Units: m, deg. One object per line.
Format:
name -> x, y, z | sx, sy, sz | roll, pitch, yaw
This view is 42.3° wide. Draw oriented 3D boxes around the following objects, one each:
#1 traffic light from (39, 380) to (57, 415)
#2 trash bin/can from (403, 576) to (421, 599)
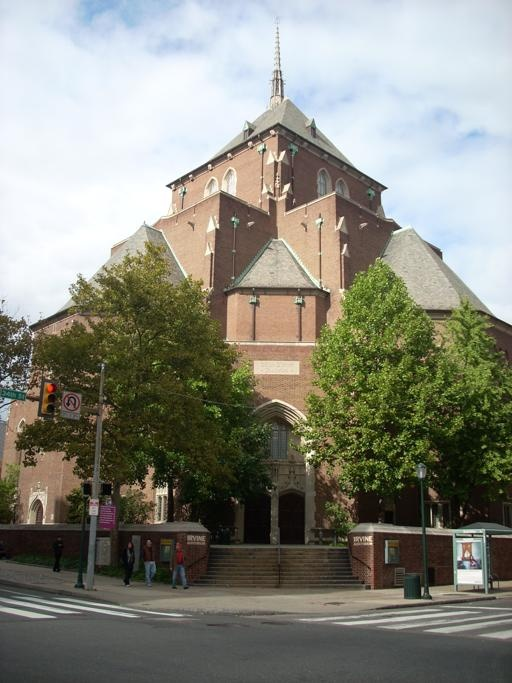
traffic light -> -5.629, 1.588, 17.815 | 0.426, 0.874, 1.293 | 5, -13, -18
trash bin/can -> 4.628, 7.296, 19.688 | 0.668, 0.685, 0.650 | 1, -18, -2
